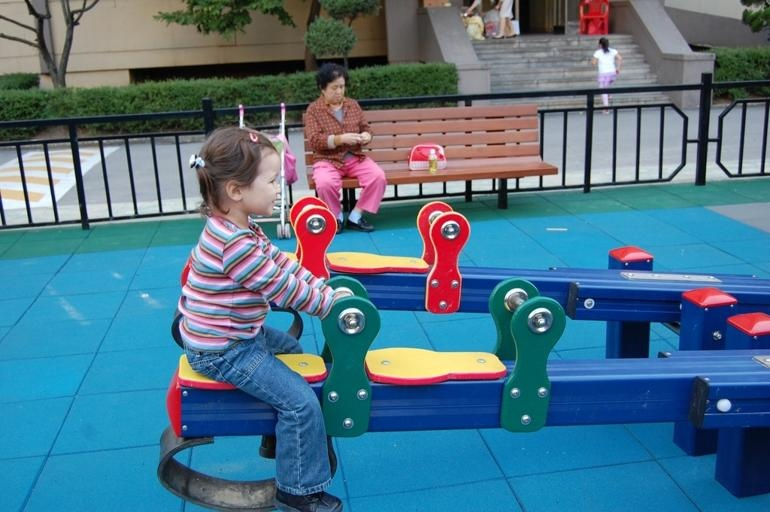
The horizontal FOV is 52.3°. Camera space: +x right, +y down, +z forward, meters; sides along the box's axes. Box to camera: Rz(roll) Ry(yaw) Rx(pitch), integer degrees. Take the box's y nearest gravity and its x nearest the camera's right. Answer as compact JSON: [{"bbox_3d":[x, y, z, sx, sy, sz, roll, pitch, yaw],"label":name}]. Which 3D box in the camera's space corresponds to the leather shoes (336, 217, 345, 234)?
[{"bbox_3d":[-0.496,-0.331,8.652,0.136,0.125,0.345,1,11,-1],"label":"leather shoes"}]

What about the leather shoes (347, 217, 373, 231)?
[{"bbox_3d":[-0.270,-0.362,8.865,0.277,0.110,0.144,8,12,39],"label":"leather shoes"}]

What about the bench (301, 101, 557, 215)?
[{"bbox_3d":[0.731,-1.131,9.069,2.970,1.114,0.859,-5,16,-25],"label":"bench"}]

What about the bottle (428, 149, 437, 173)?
[{"bbox_3d":[0.553,-1.112,9.065,0.110,0.255,0.182,-3,17,3],"label":"bottle"}]
